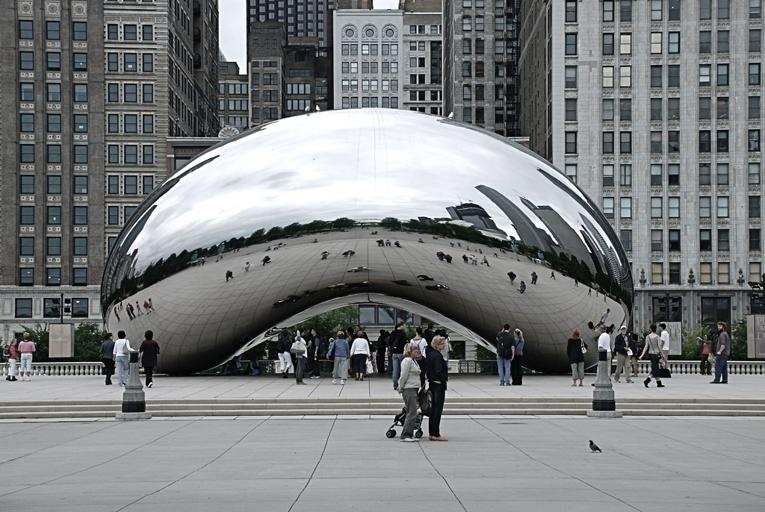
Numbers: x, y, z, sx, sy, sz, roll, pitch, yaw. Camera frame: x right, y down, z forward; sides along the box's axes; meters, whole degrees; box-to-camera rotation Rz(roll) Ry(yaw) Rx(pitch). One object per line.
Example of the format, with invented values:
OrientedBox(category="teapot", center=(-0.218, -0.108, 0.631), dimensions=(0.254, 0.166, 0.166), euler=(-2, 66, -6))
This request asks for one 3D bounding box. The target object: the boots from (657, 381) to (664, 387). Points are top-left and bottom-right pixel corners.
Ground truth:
OrientedBox(category="boots", center=(14.250, 6.541, 66.519), dimensions=(0.298, 0.337, 0.748), euler=(-5, -4, 22))

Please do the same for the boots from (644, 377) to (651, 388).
OrientedBox(category="boots", center=(13.497, 6.455, 66.300), dimensions=(0.315, 0.539, 1.509), euler=(-5, -3, 10))

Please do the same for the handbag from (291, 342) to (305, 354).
OrientedBox(category="handbag", center=(-4.281, 4.750, 66.816), dimensions=(0.681, 0.558, 0.608), euler=(3, 4, 2))

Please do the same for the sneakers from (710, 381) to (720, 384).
OrientedBox(category="sneakers", center=(17.432, 6.651, 68.076), dimensions=(0.469, 0.156, 0.159), euler=(3, -5, 15))

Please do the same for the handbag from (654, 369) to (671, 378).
OrientedBox(category="handbag", center=(14.852, 6.245, 68.851), dimensions=(0.821, 0.426, 0.774), euler=(-1, -1, 22))

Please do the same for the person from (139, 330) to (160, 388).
OrientedBox(category="person", center=(-11.954, 5.316, 66.674), dimensions=(0.843, 2.897, 1.438), euler=(-5, -4, 5))
